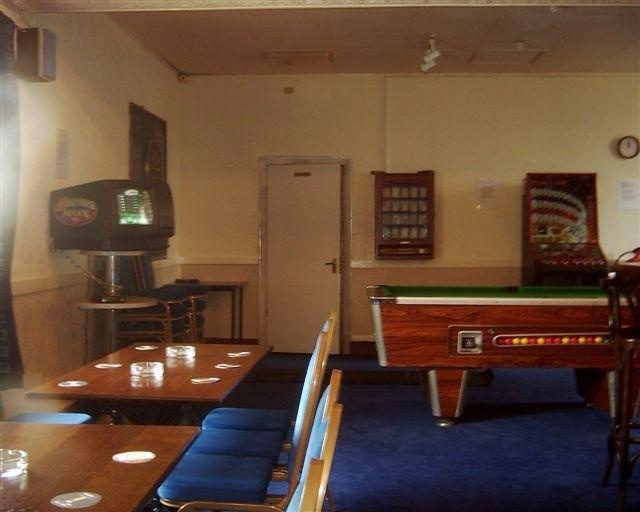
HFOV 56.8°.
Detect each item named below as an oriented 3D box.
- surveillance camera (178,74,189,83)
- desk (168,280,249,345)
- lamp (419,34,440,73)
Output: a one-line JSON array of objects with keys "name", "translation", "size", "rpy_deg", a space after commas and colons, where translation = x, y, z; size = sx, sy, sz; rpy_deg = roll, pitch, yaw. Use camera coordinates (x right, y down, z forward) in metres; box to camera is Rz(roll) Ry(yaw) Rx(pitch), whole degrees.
[{"name": "surveillance camera", "translation": [-1.731, -2.262, 7.536], "size": [0.140, 0.093, 0.052], "rpy_deg": [-1, 6, -8]}, {"name": "desk", "translation": [-1.161, 0.638, 7.543], "size": [1.399, 0.818, 0.862], "rpy_deg": [-1, -1, 7]}, {"name": "lamp", "translation": [1.130, -2.107, 6.129], "size": [0.286, 0.610, 0.103], "rpy_deg": [4, -47, 3]}]
